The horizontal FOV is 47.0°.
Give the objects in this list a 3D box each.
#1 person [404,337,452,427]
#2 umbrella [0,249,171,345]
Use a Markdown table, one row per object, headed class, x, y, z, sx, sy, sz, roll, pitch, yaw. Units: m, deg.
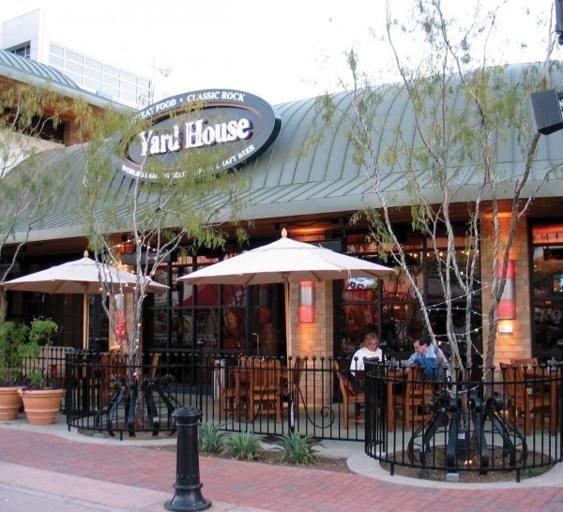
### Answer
| class | x | y | z | sx | sy | sz | roll | pitch | yaw |
| --- | --- | --- | --- | --- | --- | --- | --- | --- | --- |
| person | 2.329 | 1.901 | 10.585 | 0.776 | 1.350 | 0.517 | -4 | 10 | 26 |
| umbrella | -3.579 | 0.835 | 12.555 | 4.182 | 1.878 | 2.360 | -11 | -14 | 39 |
